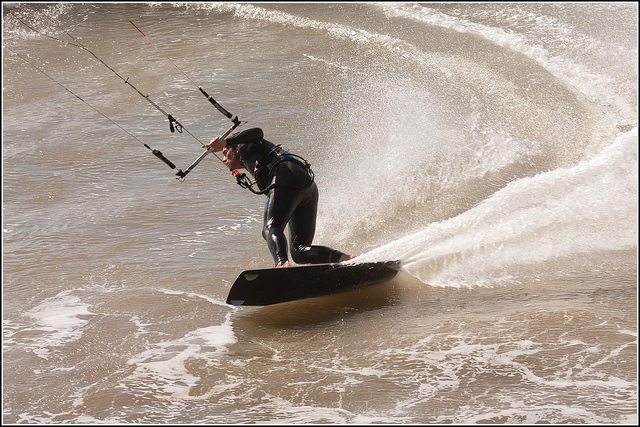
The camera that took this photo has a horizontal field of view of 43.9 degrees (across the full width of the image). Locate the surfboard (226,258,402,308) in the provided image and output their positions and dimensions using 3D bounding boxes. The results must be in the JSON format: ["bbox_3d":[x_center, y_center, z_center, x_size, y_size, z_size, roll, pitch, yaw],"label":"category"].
[{"bbox_3d":[0.086,1.059,13.117,0.453,4.146,0.569,-21,80,36],"label":"surfboard"}]
